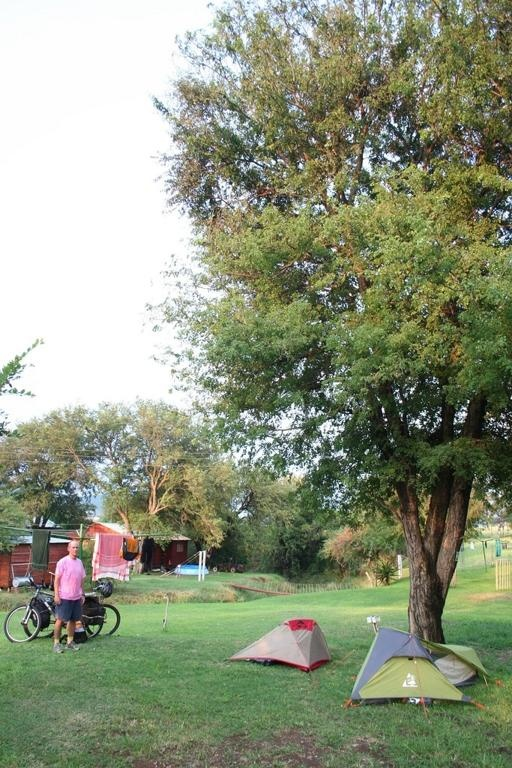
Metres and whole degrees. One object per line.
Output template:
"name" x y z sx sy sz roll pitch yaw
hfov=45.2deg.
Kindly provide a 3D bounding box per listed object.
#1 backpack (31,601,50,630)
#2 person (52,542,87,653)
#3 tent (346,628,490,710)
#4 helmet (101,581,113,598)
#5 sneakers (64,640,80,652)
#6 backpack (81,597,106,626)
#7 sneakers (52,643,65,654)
"backpack" -3.741 4.061 10.808 0.283 0.482 0.385 -6 -15 42
"person" -3.137 3.494 10.297 0.501 1.748 1.043 7 -12 -15
"tent" 2.272 3.787 9.145 1.563 0.811 2.035 -4 9 9
"helmet" -2.987 4.124 12.359 0.235 0.346 0.122 -3 -2 40
"sneakers" -3.003 4.246 10.074 0.213 0.148 0.354 8 -12 -17
"backpack" -2.983 4.157 11.284 0.477 0.532 0.377 3 -12 -1
"sneakers" -3.142 4.205 9.799 0.106 0.126 0.260 13 -17 -35
